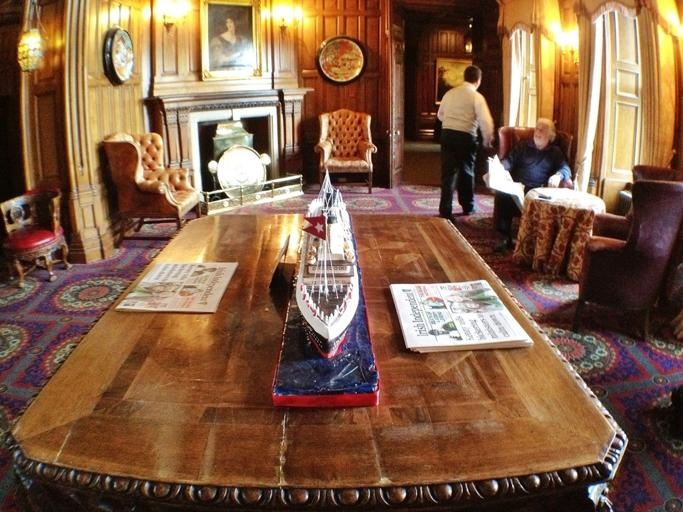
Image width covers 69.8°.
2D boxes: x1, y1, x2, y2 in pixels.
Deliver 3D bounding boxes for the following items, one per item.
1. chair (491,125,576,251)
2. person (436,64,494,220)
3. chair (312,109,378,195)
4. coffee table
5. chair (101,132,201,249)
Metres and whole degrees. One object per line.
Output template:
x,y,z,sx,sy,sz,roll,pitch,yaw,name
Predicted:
2.321,-1.045,5.784,0.798,1.296,0.975,-10,-12,27,chair
1.679,-1.515,6.580,0.719,1.898,1.128,4,19,16,person
0.026,-1.790,8.277,1.072,1.249,1.111,-8,23,-20,chair
2.003,-0.274,4.904,0.797,0.786,0.843,13,29,5,coffee table
-2.259,-0.892,6.246,1.128,1.438,1.260,0,27,-8,chair
